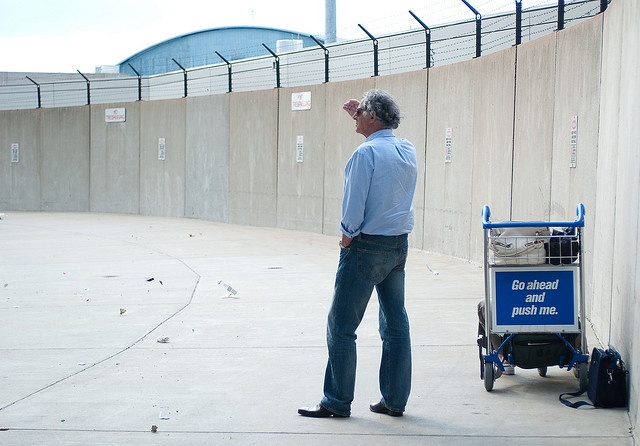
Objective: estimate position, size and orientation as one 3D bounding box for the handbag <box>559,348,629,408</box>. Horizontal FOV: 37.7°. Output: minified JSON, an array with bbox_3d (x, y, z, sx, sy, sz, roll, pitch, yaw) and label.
[{"bbox_3d":[2.960,1.688,10.169,0.614,0.486,0.637,-2,2,-3],"label":"handbag"}]

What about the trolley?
[{"bbox_3d":[2.515,0.916,10.741,1.515,1.956,1.760,1,-6,-8],"label":"trolley"}]

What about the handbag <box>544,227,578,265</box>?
[{"bbox_3d":[2.663,0.238,10.467,0.361,0.370,0.373,-2,1,4],"label":"handbag"}]

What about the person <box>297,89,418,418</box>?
[{"bbox_3d":[0.514,0.319,9.943,0.989,3.387,0.909,2,14,5],"label":"person"}]

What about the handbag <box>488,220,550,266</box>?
[{"bbox_3d":[2.193,0.231,10.326,0.682,0.505,0.390,1,-15,2],"label":"handbag"}]

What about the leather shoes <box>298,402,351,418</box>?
[{"bbox_3d":[0.055,2.003,9.956,0.524,0.210,0.200,5,-9,8],"label":"leather shoes"}]

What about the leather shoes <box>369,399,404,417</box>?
[{"bbox_3d":[0.716,1.980,10.014,0.316,0.162,0.150,10,5,30],"label":"leather shoes"}]
